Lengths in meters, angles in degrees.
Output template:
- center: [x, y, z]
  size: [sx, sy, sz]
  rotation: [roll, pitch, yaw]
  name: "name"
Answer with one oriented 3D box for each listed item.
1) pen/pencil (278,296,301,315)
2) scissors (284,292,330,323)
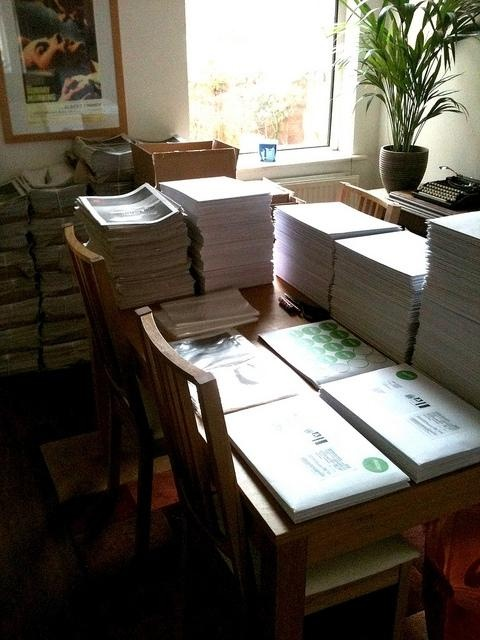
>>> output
- center: [0.142, -0.042, 1.379]
  size: [0.025, 0.029, 0.099]
  rotation: [-1, 22, -14]
  name: "pen/pencil"
- center: [0.180, -0.036, 1.354]
  size: [0.049, 0.034, 0.141]
  rotation: [-14, 22, -27]
  name: "scissors"
